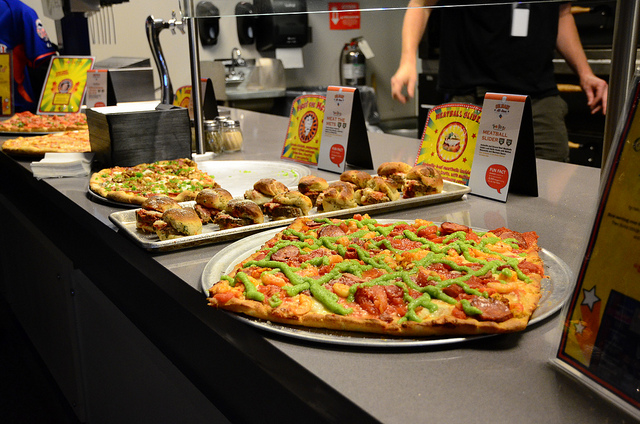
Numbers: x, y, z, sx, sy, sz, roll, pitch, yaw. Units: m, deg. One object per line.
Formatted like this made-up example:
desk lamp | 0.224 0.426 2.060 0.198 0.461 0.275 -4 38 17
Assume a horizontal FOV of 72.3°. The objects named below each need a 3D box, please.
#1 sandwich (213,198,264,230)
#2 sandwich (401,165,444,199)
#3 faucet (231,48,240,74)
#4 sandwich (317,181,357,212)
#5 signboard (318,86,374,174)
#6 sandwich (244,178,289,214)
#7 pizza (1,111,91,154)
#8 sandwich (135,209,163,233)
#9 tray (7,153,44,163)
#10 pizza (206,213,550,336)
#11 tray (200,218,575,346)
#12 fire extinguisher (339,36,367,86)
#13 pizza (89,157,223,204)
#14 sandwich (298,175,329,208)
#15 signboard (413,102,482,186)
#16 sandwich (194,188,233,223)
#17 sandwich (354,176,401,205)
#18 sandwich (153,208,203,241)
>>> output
sandwich | -0.196 0.007 1.054 0.124 0.068 0.113 -7 13 -17
sandwich | 0.295 -0.091 1.250 0.129 0.081 0.136 -7 22 -18
faucet | -0.972 -1.720 4.968 0.077 0.275 0.218 1 20 7
sandwich | 0.043 -0.037 1.126 0.072 0.032 0.091 -3 24 7
signboard | 0.079 -0.293 1.540 0.138 0.284 0.185 -19 26 -39
sandwich | -0.142 -0.051 1.206 0.136 0.084 0.136 7 16 7
pizza | -1.362 -0.398 2.136 0.399 0.094 1.010 -11 22 -26
sandwich | -0.415 0.017 1.047 0.058 0.021 0.058 6 15 8
tray | -1.205 -0.218 1.786 0.070 0.016 0.070 8 6 18
pizza | 0.138 0.106 0.895 0.560 0.061 0.491 3 18 20
tray | 0.125 0.090 0.845 0.716 0.116 0.395 0 20 5
fire extinguisher | 0.401 -1.908 5.534 0.337 0.561 0.362 1 20 7
pizza | -0.555 -0.104 1.435 0.361 0.053 0.460 -12 22 -28
sandwich | -0.023 -0.070 1.230 0.125 0.076 0.121 -3 13 1
signboard | 0.399 -0.203 1.322 0.021 0.241 0.216 3 15 -37
sandwich | -0.268 -0.024 1.148 0.096 0.078 0.082 14 18 43
sandwich | 0.156 -0.054 1.168 0.100 0.048 0.077 -7 16 -10
sandwich | -0.326 0.025 1.020 0.109 0.072 0.086 -14 25 -28
